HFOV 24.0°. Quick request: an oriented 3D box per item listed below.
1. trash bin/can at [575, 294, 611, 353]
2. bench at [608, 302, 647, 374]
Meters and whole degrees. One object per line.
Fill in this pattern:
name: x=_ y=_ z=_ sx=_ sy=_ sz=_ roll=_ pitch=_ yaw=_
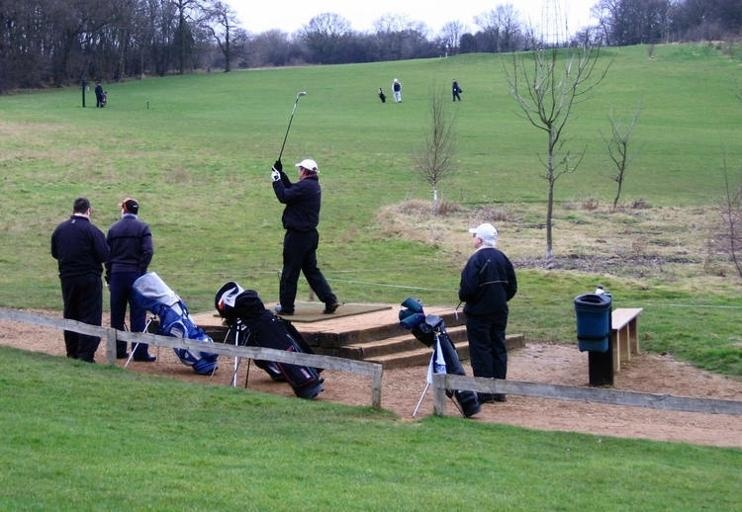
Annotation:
trash bin/can: x=12.075 y=3.592 z=94.198 sx=1.812 sy=3.224 sz=1.704 roll=7 pitch=27 yaw=29
bench: x=13.888 y=4.681 z=95.894 sx=1.642 sy=3.116 sz=2.118 roll=6 pitch=18 yaw=22
